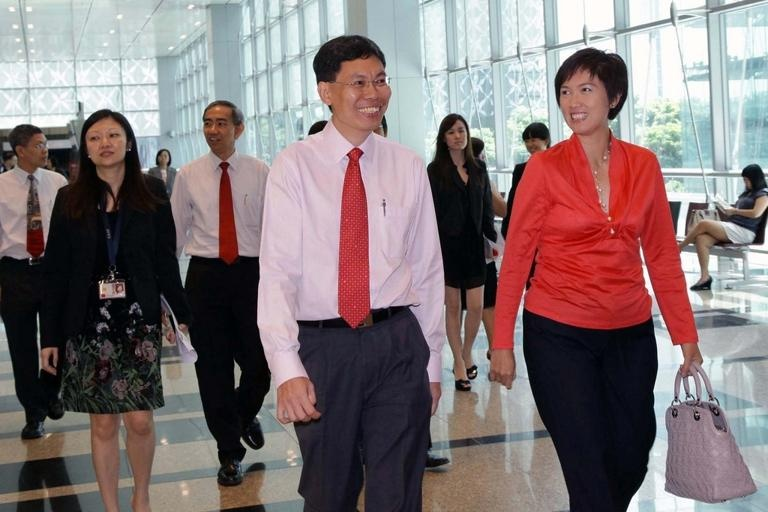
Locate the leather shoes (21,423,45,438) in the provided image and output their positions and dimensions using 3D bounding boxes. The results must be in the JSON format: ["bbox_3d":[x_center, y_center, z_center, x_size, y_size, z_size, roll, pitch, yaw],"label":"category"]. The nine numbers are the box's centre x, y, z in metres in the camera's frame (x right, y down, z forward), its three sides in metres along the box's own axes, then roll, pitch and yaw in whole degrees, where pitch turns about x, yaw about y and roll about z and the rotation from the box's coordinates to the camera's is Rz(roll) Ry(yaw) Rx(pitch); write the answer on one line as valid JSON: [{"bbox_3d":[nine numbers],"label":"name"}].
[{"bbox_3d":[-2.710,1.353,4.354,0.083,0.098,0.247,-1,5,-22],"label":"leather shoes"}]

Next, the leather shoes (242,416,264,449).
[{"bbox_3d":[-0.925,1.251,3.981,0.099,0.115,0.273,-4,2,-22],"label":"leather shoes"}]

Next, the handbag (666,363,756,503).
[{"bbox_3d":[1.266,0.726,2.223,0.304,0.425,0.235,-4,2,33],"label":"handbag"}]

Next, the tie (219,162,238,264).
[{"bbox_3d":[-1.066,-0.302,3.799,0.125,0.689,0.235,-5,1,-13],"label":"tie"}]

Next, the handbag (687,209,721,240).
[{"bbox_3d":[5.000,-0.465,8.909,0.634,0.578,0.325,-2,0,-26],"label":"handbag"}]

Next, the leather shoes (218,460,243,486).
[{"bbox_3d":[-0.983,1.366,3.592,0.159,0.156,0.218,-5,2,-17],"label":"leather shoes"}]

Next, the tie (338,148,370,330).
[{"bbox_3d":[-0.118,-0.068,1.986,0.122,0.596,0.110,-4,1,-2],"label":"tie"}]

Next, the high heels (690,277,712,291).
[{"bbox_3d":[4.732,0.417,8.385,0.423,0.224,0.141,1,0,-7],"label":"high heels"}]

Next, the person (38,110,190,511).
[{"bbox_3d":[-1.386,0.281,2.905,0.674,2.203,0.263,-5,1,-5],"label":"person"}]

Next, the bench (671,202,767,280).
[{"bbox_3d":[5.086,-0.243,8.448,0.510,0.857,1.309,0,-1,-12],"label":"bench"}]
